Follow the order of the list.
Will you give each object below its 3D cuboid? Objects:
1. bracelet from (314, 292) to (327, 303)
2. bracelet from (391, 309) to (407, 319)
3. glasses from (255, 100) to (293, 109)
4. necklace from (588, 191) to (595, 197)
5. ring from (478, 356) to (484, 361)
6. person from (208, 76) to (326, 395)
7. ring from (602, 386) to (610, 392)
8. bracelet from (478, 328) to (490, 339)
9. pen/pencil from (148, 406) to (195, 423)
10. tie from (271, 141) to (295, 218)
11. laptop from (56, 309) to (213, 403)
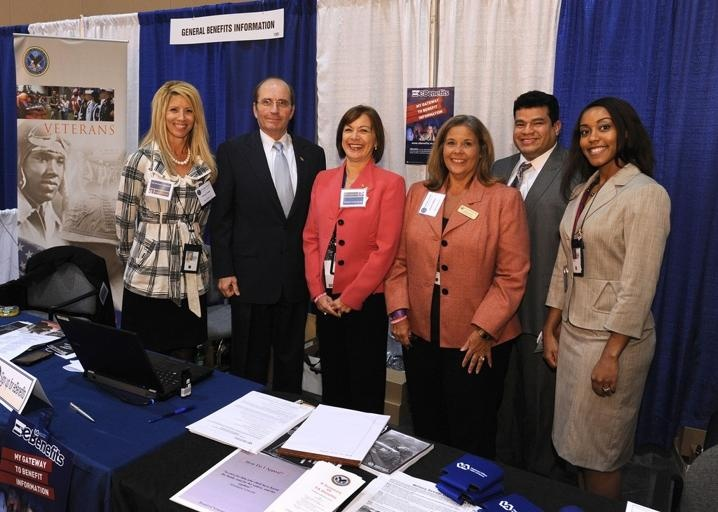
[{"bbox_3d":[-0.225,0.237,3.364,0.057,0.026,0.051,-35,-10,3],"label":"bracelet"},{"bbox_3d":[0.215,0.316,3.170,0.051,0.053,0.067,-8,-7,30],"label":"bracelet"},{"bbox_3d":[-0.508,-0.911,3.505,0.203,0.054,0.069,-4,12,-13],"label":"glasses"},{"bbox_3d":[1.174,-0.313,2.938,0.025,0.006,0.024,8,51,22],"label":"necklace"},{"bbox_3d":[0.633,0.530,3.004,0.026,0.029,0.026,-6,43,5],"label":"ring"},{"bbox_3d":[-0.548,0.064,3.758,0.727,2.324,0.585,-1,27,-13],"label":"person"},{"bbox_3d":[1.174,0.624,2.764,0.026,0.023,0.021,36,16,30],"label":"ring"},{"bbox_3d":[0.636,0.399,2.967,0.063,0.036,0.043,41,16,4],"label":"bracelet"},{"bbox_3d":[-0.799,0.674,2.474,0.018,0.020,0.163,-4,6,35],"label":"pen/pencil"},{"bbox_3d":[-0.469,-0.474,3.552,0.118,0.436,0.136,-9,14,-36],"label":"tie"},{"bbox_3d":[-0.994,0.343,2.574,0.463,0.308,0.441,19,19,22],"label":"laptop"}]
